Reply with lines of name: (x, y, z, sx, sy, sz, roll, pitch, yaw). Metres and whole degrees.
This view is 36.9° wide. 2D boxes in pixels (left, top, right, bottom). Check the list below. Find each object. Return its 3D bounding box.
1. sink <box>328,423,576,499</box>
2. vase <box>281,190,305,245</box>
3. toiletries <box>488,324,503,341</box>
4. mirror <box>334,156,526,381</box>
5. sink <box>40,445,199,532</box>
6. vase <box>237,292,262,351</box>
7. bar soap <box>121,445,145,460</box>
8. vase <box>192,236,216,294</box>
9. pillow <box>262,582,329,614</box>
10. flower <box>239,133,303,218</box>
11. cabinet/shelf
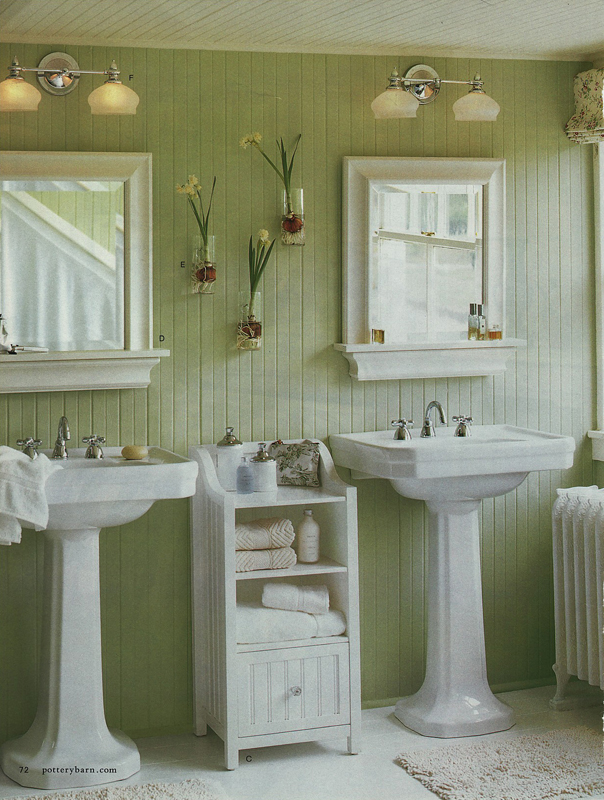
sink: (0.500, 0.205, 2.972, 0.674, 0.219, 0.579, -1, 1, -18)
vase: (-0.029, -0.613, 3.007, 0.080, 0.187, 0.111, -1, 1, 1)
toiletries: (0.693, -0.246, 3.239, 0.052, 0.050, 0.051, 1, 0, 20)
mirror: (0.416, -0.463, 3.155, 0.828, 0.886, 0.261, -2, 4, -20)
sink: (-0.513, 0.266, 2.559, 0.388, 0.215, 0.447, -1, 1, -16)
vase: (-0.173, -0.261, 2.986, 0.084, 0.193, 0.081, -1, 1, -5)
bar soap: (-0.496, 0.156, 2.664, 0.050, 0.024, 0.048, -4, 4, -26)
vase: (-0.316, -0.438, 2.906, 0.073, 0.180, 0.075, -1, 1, -7)
pillow: (-0.022, 0.602, 2.762, 0.136, 0.047, 0.106, 2, 0, -4)
flower: (-0.091, -0.749, 2.989, 0.190, 0.285, 0.077, -1, 1, -6)
cabinet/shelf: (-0.061, 0.616, 2.854, 0.504, 0.941, 0.404, -1, 1, -19)
